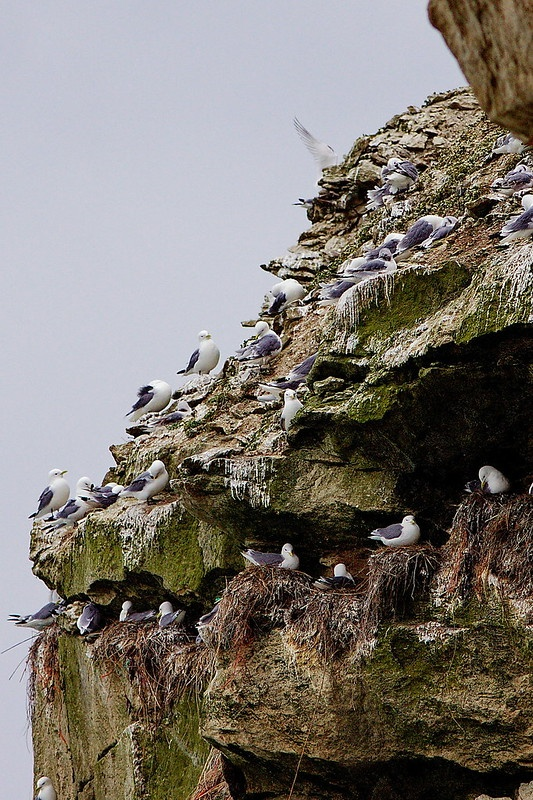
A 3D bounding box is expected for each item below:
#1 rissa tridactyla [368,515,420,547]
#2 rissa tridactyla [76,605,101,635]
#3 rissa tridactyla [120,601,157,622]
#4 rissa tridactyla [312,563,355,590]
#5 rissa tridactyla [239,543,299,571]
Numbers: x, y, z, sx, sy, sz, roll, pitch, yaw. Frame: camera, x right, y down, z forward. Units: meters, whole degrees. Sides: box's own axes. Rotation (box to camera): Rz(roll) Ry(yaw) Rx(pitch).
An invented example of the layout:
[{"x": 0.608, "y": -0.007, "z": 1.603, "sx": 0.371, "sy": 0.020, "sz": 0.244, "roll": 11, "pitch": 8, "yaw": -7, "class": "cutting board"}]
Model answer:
[{"x": 1.118, "y": 1.106, "z": 18.507, "sx": 0.391, "sy": 0.292, "sz": 0.223, "roll": -2, "pitch": -6, "yaw": 30, "class": "rissa tridactyla"}, {"x": -1.858, "y": 2.269, "z": 22.713, "sx": 0.173, "sy": 0.345, "sz": 0.114, "roll": -20, "pitch": -46, "yaw": 34, "class": "rissa tridactyla"}, {"x": -1.308, "y": 2.146, "z": 22.137, "sx": 0.313, "sy": 0.227, "sz": 0.207, "roll": -15, "pitch": -15, "yaw": 20, "class": "rissa tridactyla"}, {"x": 0.598, "y": 1.526, "z": 18.840, "sx": 0.267, "sy": 0.221, "sz": 0.206, "roll": 0, "pitch": -14, "yaw": -17, "class": "rissa tridactyla"}, {"x": 0.067, "y": 1.397, "z": 19.258, "sx": 0.432, "sy": 0.335, "sz": 0.220, "roll": 12, "pitch": -3, "yaw": 15, "class": "rissa tridactyla"}]
